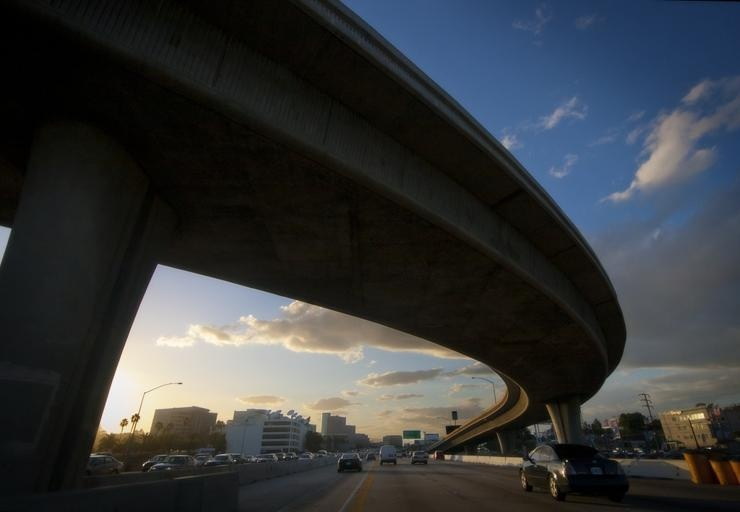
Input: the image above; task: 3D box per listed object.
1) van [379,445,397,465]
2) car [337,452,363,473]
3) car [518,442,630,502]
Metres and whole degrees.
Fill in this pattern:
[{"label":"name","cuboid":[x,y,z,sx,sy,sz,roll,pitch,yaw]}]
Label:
[{"label":"van","cuboid":[1.819,20.331,41.294,1.634,1.603,3.080,2,-34,-4]},{"label":"car","cuboid":[-1.496,14.872,28.975,1.006,0.790,2.245,-1,-43,-2]},{"label":"car","cuboid":[6.325,6.829,12.778,1.626,1.570,3.062,4,-26,-9]}]
